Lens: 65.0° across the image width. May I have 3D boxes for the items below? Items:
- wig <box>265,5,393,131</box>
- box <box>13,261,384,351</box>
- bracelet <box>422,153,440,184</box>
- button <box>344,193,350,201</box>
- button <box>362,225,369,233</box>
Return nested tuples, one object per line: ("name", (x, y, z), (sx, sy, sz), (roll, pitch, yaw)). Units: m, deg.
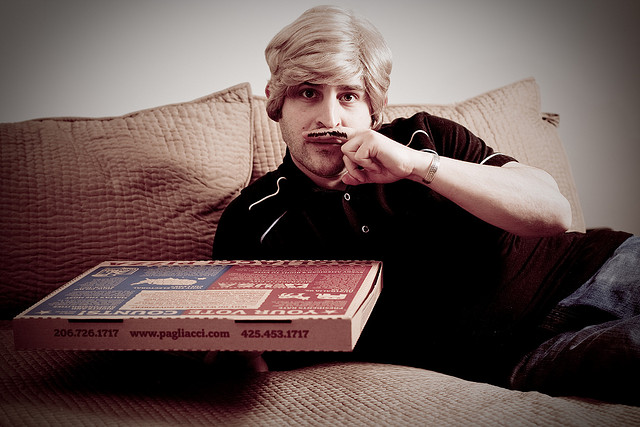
("wig", (0.032, -0.503, 1.681), (0.415, 0.337, 0.409), (0, 24, 0))
("box", (-0.276, 0.229, 1.327), (0.874, 0.114, 0.366), (-1, 15, 5))
("bracelet", (0.324, -0.128, 1.450), (0.025, 0.070, 0.065), (16, -22, 13))
("button", (0.086, -0.054, 1.597), (0.023, 0.020, 0.005), (0, -5, -3))
("button", (0.141, 0.049, 1.584), (0.025, 0.021, 0.005), (-3, -9, -4))
